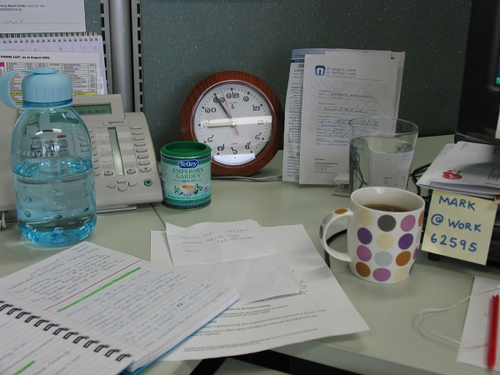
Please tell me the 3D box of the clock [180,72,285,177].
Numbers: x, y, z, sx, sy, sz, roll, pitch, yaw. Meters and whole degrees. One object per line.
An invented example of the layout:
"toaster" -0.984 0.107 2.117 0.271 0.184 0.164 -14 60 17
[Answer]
"clock" -0.041 -0.137 0.869 0.243 0.254 0.036 3 2 -8

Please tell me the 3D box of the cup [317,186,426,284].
"cup" 0.190 0.071 0.635 0.179 0.130 0.117 -7 22 -8

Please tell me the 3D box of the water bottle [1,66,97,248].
"water bottle" -0.353 -0.069 0.682 0.137 0.281 0.220 -9 23 -22
